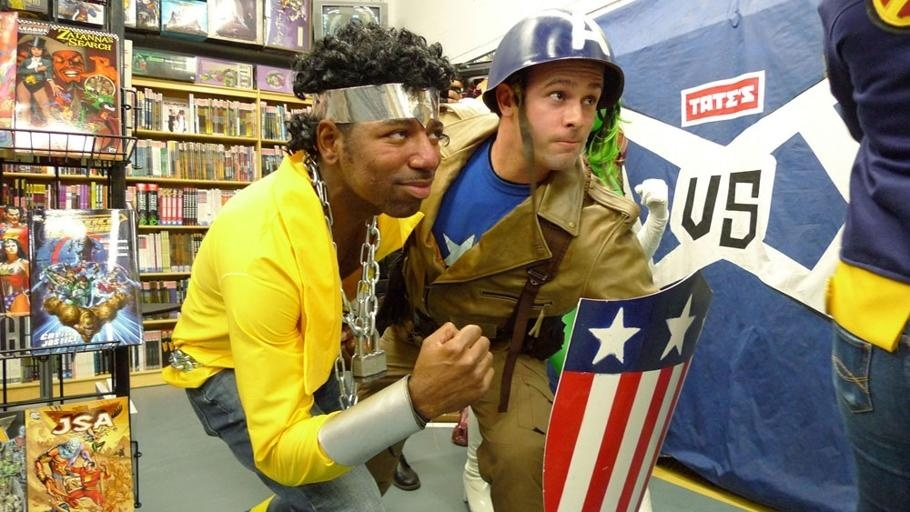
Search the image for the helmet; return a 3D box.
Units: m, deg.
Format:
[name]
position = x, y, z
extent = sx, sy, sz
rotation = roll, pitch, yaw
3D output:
[helmet]
position = 0.380, -0.779, 2.654
extent = 0.545, 0.378, 0.274
rotation = 0, 5, 1
